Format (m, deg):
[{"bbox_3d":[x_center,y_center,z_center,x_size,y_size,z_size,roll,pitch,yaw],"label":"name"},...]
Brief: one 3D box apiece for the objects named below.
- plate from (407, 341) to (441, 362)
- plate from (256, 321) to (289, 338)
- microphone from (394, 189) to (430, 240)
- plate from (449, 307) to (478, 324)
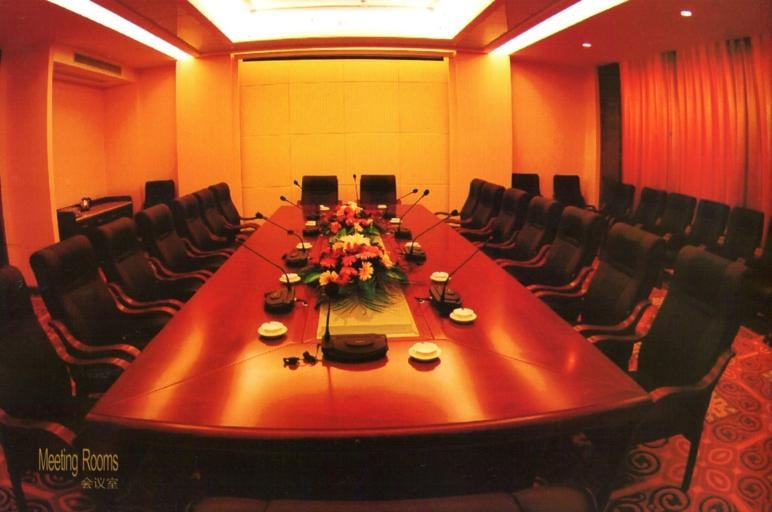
[{"bbox_3d":[0.231,0.575,3.396,0.193,0.086,0.124,0,12,1],"label":"plate"},{"bbox_3d":[-0.727,0.465,3.644,0.188,0.080,0.180,-8,15,-32],"label":"plate"},{"bbox_3d":[0.205,-0.409,5.956,0.238,0.377,0.207,3,-15,9],"label":"microphone"},{"bbox_3d":[0.534,0.398,3.811,0.206,0.077,0.164,-4,13,-16],"label":"plate"}]
